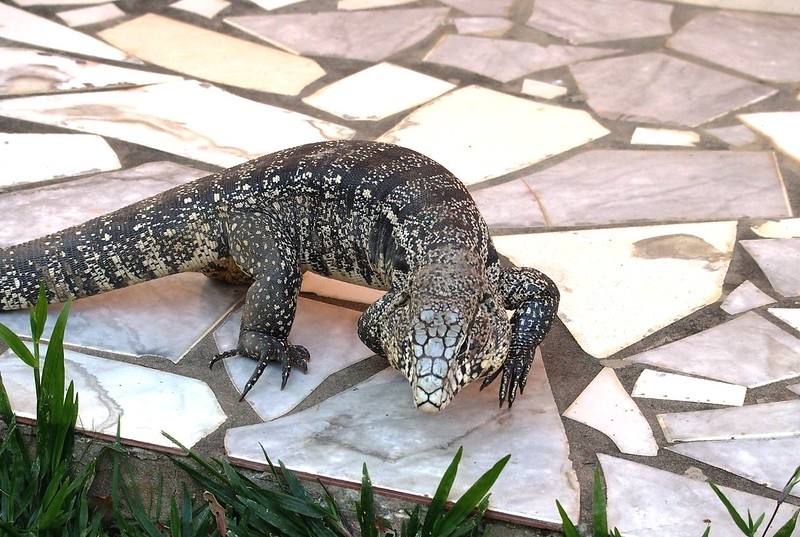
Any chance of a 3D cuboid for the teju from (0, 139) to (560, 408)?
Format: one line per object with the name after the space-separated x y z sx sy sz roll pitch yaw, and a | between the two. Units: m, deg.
-0.707 -0.035 5.268 3.112 0.935 1.781 20 48 16 | teju
